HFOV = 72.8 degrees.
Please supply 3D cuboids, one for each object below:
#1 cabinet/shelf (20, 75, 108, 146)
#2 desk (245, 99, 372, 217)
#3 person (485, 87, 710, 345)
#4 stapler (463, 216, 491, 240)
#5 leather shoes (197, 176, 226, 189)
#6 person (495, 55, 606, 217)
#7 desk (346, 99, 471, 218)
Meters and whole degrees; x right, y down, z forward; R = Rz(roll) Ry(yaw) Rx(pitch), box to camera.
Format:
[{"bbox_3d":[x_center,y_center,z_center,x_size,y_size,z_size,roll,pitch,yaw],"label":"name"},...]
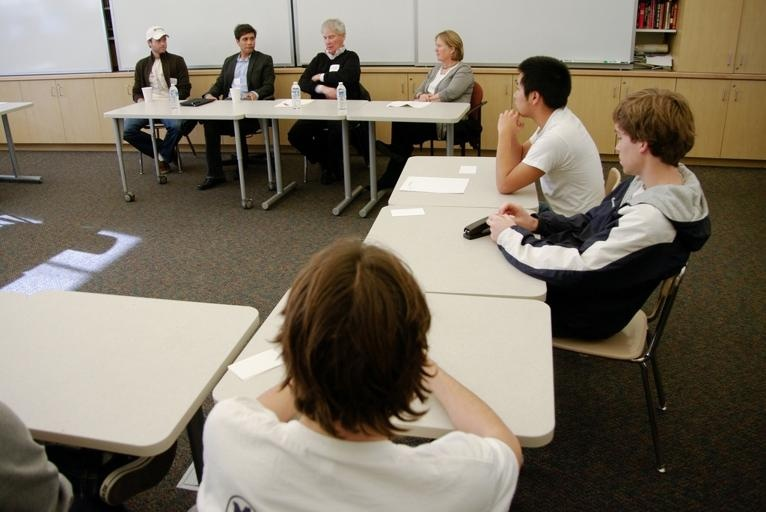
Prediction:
[{"bbox_3d":[-4.179,-1.971,6.842,0.976,0.931,0.393,1,12,7],"label":"cabinet/shelf"},{"bbox_3d":[-0.690,-1.254,5.146,1.269,1.019,1.117,6,25,12],"label":"desk"},{"bbox_3d":[0.895,-0.172,2.205,0.764,1.000,0.535,1,22,5],"label":"person"},{"bbox_3d":[0.431,-0.137,2.363,0.055,0.064,0.184,20,31,40],"label":"stapler"},{"bbox_3d":[-1.827,-0.786,5.528,0.108,0.131,0.319,11,21,26],"label":"leather shoes"},{"bbox_3d":[0.989,-0.571,3.130,0.653,1.174,0.604,-2,21,9],"label":"person"},{"bbox_3d":[0.216,-1.025,4.922,1.224,1.086,1.056,4,26,10],"label":"desk"}]
